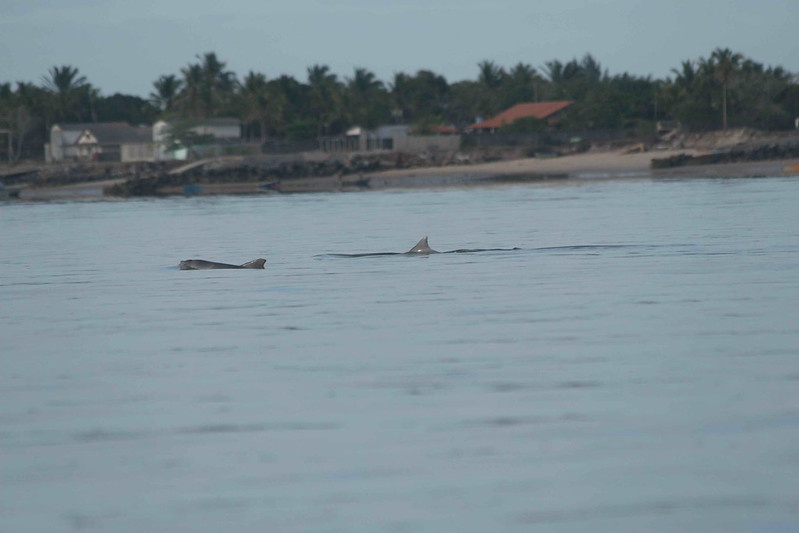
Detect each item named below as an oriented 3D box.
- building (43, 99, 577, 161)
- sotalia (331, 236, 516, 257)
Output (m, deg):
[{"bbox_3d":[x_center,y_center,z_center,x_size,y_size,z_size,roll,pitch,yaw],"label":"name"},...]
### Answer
[{"bbox_3d":[-8.619,-9.015,89.581,39.273,3.527,20.214,3,10,29],"label":"building"},{"bbox_3d":[0.527,-0.541,34.944,5.139,0.414,1.166,-2,9,-2],"label":"sotalia"}]
